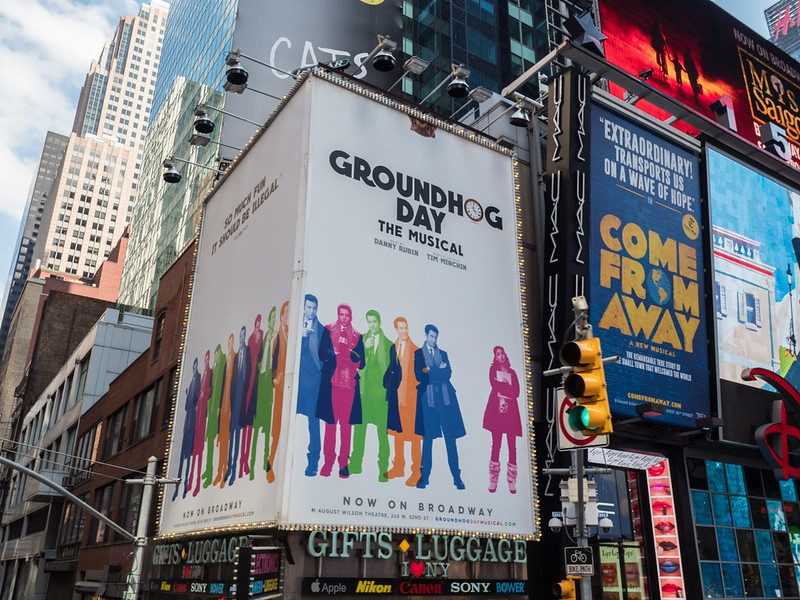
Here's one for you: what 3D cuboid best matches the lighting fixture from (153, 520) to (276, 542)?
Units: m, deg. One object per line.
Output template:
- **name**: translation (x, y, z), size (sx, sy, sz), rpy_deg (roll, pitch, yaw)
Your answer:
- **lighting fixture**: translation (-7.508, 9.491, 31.249), size (4.974, 0.747, 0.286), rpy_deg (-17, -38, 41)
